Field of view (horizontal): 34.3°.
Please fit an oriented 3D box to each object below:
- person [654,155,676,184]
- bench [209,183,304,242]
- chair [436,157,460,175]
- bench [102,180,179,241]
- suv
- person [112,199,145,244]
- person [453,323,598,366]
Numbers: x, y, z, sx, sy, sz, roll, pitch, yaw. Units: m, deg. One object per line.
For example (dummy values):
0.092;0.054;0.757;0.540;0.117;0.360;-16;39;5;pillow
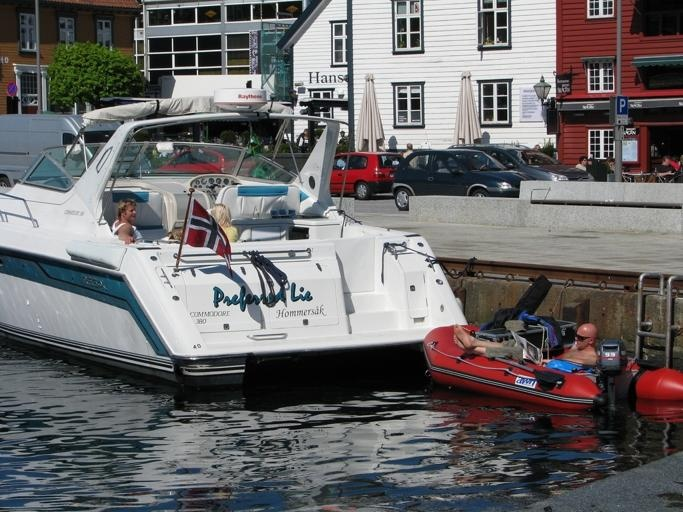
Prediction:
9.921;-2.543;33.759;0.982;0.632;1.836;0;12;11;person
-1.476;-0.624;15.834;1.568;0.725;1.328;0;8;-33;bench
2.998;-2.456;30.797;0.410;0.336;0.674;-2;4;-22;chair
-2.926;-0.547;15.544;1.230;0.885;0.590;0;13;-6;bench
5.166;-2.778;31.489;3.469;0.944;1.598;2;4;42;suv
-2.819;-0.475;14.336;0.390;0.467;0.717;-6;13;-12;person
2.158;0.998;13.489;1.836;0.483;0.920;1;-16;27;person
